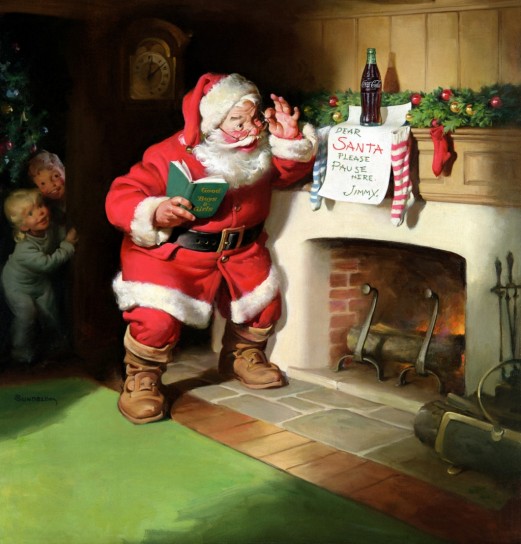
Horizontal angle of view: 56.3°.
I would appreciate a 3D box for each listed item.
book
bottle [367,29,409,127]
[{"bbox_3d":[-0.191,-0.241,1.392,0.237,0.152,0.077,18,38,-7],"label":"book"},{"bbox_3d":[0.387,-0.566,1.491,0.103,0.246,0.078,2,13,10],"label":"bottle"}]
